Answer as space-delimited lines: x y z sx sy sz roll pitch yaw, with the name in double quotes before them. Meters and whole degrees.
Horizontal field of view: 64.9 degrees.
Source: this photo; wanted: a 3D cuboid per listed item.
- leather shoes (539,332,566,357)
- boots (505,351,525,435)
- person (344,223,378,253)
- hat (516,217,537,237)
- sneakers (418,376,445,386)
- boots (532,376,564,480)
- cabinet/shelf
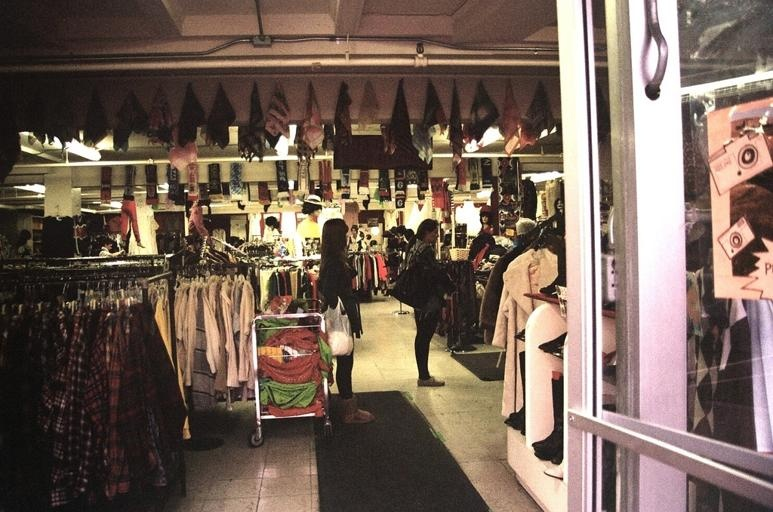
"leather shoes" 1.010 0.561 3.706 0.154 0.153 0.273 0 6 14
"boots" 0.919 0.956 4.266 0.100 0.559 0.221 -3 5 -18
"person" -0.764 -0.512 17.680 0.879 0.859 0.215 -6 -10 -20
"hat" 1.283 -0.279 5.687 0.243 0.093 0.251 -7 14 6
"sneakers" 0.465 1.322 6.397 0.283 0.118 0.105 -1 -2 -1
"boots" 0.993 1.042 3.736 0.168 0.630 0.263 -2 5 1
"cabinet/shelf" -0.760 0.965 5.376 0.953 1.298 0.831 0 -3 -10
